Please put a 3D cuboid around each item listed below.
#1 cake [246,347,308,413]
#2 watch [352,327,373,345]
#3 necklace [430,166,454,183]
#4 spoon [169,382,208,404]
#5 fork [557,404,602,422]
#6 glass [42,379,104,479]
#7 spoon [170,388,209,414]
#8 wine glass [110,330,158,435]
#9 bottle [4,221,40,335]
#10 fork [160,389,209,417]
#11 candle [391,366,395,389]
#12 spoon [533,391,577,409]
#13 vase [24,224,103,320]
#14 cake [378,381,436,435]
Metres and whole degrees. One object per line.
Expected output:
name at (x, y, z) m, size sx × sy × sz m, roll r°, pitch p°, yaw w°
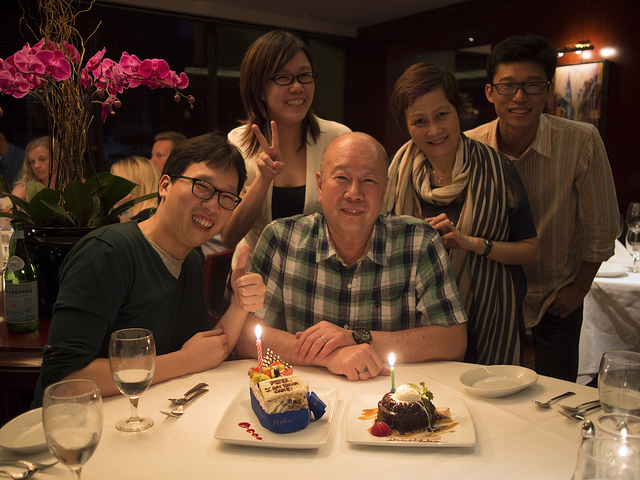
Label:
cake at (-0.149, 0.511, 1.771) m, size 0.184 × 0.114 × 0.309 m, roll -4°, pitch 4°, yaw -13°
watch at (0.180, 0.404, 2.145) m, size 0.076 × 0.053 × 0.076 m, roll 5°, pitch 10°, yaw -12°
necklace at (0.699, -0.379, 2.918) m, size 0.020 × 0.095 × 0.143 m, roll -5°, pitch 8°, yaw -45°
spoon at (-0.474, 0.554, 1.835) m, size 0.035 × 0.024 × 0.153 m, roll 2°, pitch 14°, yaw 24°
fork at (0.896, 0.566, 1.739) m, size 0.228 × 0.036 × 0.042 m, roll -4°, pitch 0°, yaw -35°
glass at (-0.680, 0.532, 1.387) m, size 0.139 × 0.266 × 0.205 m, roll -4°, pitch 7°, yaw -40°
spoon at (-0.463, 0.566, 1.789) m, size 0.029 × 0.023 × 0.185 m, roll 18°, pitch 16°, yaw 17°
wine glass at (-0.626, 0.469, 1.699) m, size 0.156 × 0.336 × 0.151 m, roll -1°, pitch 6°, yaw -29°
bottle at (-1.433, 0.174, 2.411) m, size 0.196 × 0.517 × 0.140 m, roll 5°, pitch 7°, yaw 38°
fork at (-0.469, 0.567, 1.781) m, size 0.038 × 0.034 × 0.237 m, roll 7°, pitch 11°, yaw 25°
candle at (0.261, 0.490, 1.815) m, size 0.011 × 0.074 × 0.036 m, roll 2°, pitch 6°, yaw 13°
spoon at (0.847, 0.574, 1.832) m, size 0.243 × 0.038 × 0.047 m, roll -5°, pitch 6°, yaw -43°
vase at (-1.272, 0.146, 2.671) m, size 0.440 × 0.515 × 0.456 m, roll 2°, pitch 5°, yaw -1°
cake at (0.303, 0.578, 1.744) m, size 0.204 × 0.124 × 0.213 m, roll -5°, pitch -8°, yaw 16°
